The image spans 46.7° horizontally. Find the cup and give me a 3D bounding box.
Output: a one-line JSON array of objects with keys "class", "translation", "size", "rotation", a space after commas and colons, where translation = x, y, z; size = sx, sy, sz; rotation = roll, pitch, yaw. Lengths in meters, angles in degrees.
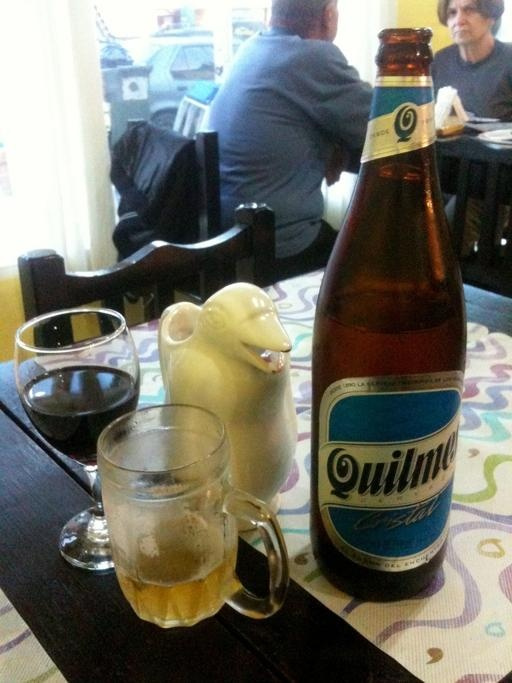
[{"class": "cup", "translation": [-0.025, 0.099, 0.299], "size": [0.103, 0.098, 0.065], "rotation": [14, 27, 36]}]

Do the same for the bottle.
[{"class": "bottle", "translation": [0.074, 0.001, 0.321], "size": [0.092, 0.305, 0.094], "rotation": [-3, 24, 1]}]
